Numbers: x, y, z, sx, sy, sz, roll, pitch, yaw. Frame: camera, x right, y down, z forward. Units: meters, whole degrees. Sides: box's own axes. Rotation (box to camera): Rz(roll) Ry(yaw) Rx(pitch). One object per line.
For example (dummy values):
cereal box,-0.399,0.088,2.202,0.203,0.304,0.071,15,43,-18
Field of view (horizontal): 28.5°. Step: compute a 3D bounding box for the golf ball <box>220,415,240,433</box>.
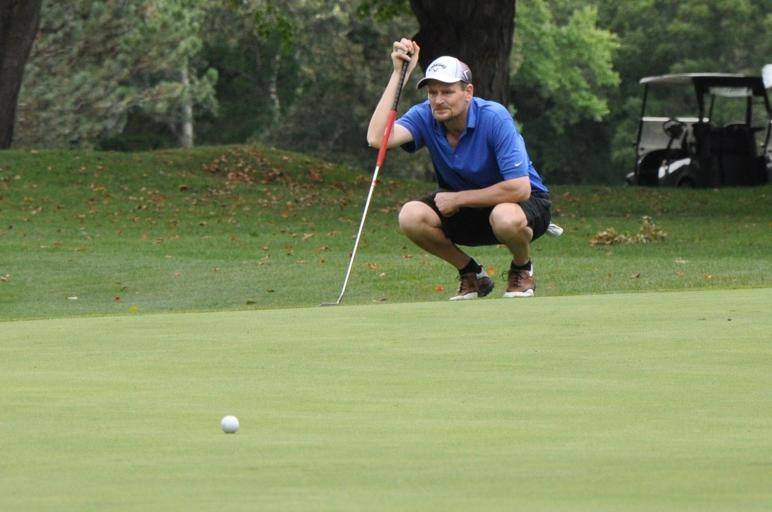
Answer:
golf ball,-1.467,1.616,14.455,0.170,0.153,0.159,7,-27,3
